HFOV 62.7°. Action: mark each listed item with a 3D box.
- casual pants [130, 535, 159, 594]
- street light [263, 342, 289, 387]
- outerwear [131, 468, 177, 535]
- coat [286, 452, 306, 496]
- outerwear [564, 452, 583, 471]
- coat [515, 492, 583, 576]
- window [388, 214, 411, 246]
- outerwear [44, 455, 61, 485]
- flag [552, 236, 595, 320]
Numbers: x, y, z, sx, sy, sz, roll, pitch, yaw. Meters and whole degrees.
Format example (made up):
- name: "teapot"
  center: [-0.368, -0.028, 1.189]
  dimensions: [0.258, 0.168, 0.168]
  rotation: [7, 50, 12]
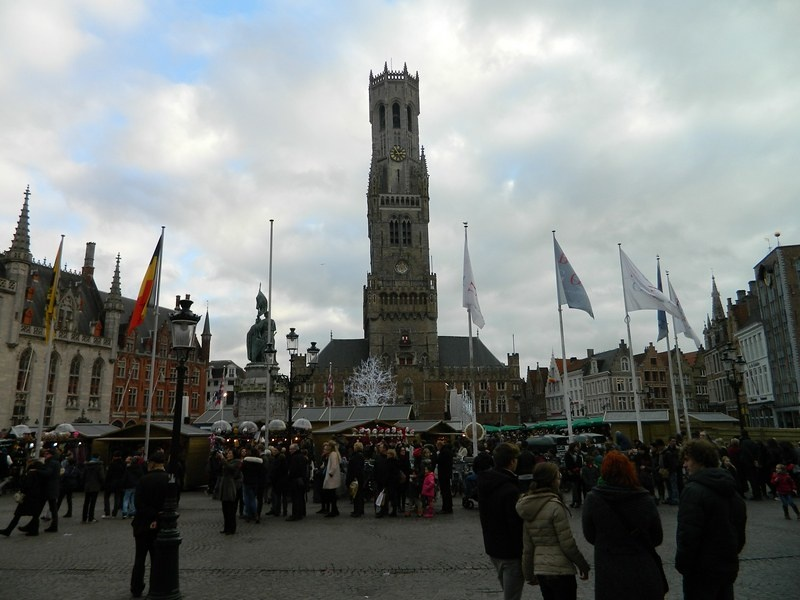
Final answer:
- name: "casual pants"
  center: [-4.564, 4.699, 11.671]
  dimensions: [0.359, 1.091, 0.446]
  rotation: [3, -17, -20]
- name: "street light"
  center: [-6.402, 3.127, 32.209]
  dimensions: [1.167, 1.770, 1.222]
  rotation: [-7, -5, 31]
- name: "outerwear"
  center: [-4.478, 3.619, 11.837]
  dimensions: [0.703, 1.105, 0.312]
  rotation: [-6, -16, 9]
- name: "coat"
  center: [-2.920, 4.925, 18.504]
  dimensions: [0.485, 1.545, 0.687]
  rotation: [2, 14, -8]
- name: "outerwear"
  center: [5.225, 4.846, 19.732]
  dimensions: [0.572, 0.568, 0.317]
  rotation: [-2, -5, 2]
- name: "coat"
  center: [2.097, 3.295, 9.164]
  dimensions: [0.891, 1.191, 0.390]
  rotation: [-8, -17, 17]
- name: "window"
  center: [-0.170, -8.746, 83.392]
  dimensions: [4.154, 5.860, 0.739]
  rotation: [1, -23, -4]
- name: "outerwear"
  center: [-8.700, 4.239, 16.409]
  dimensions: [0.459, 0.621, 0.403]
  rotation: [-36, -41, 31]
- name: "flag"
  center: [6.374, -0.846, 24.468]
  dimensions: [1.232, 0.521, 4.749]
  rotation: [-5, -43, 17]
